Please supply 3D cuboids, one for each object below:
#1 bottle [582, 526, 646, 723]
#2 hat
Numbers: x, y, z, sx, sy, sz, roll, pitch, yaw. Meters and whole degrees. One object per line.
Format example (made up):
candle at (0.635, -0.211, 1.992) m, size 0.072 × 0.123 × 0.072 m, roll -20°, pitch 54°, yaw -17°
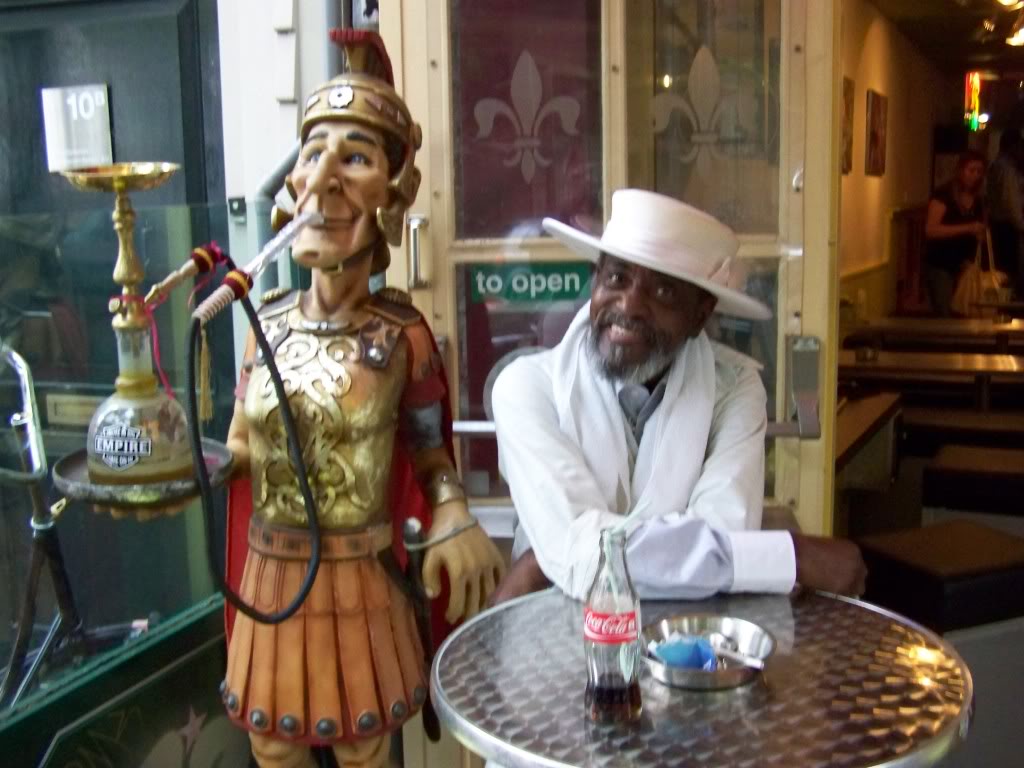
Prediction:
bottle at (0.224, 0.532, 2.422) m, size 0.130 × 0.416 × 0.102 m, roll -1°, pitch 8°, yaw 5°
hat at (0.439, -0.378, 3.268) m, size 0.643 × 0.409 × 0.392 m, roll 0°, pitch 9°, yaw 14°
